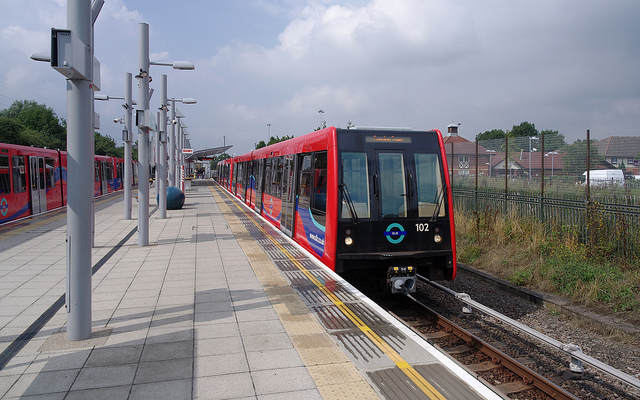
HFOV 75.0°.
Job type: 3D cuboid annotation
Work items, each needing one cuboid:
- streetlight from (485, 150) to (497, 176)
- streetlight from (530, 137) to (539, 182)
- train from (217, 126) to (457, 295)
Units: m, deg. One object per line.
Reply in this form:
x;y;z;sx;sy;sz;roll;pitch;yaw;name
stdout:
6.881;-1.498;16.801;0.191;1.001;0.709;3;11;22;streetlight
7.314;-1.418;14.478;0.177;1.460;0.287;-3;11;-11;streetlight
-1.155;-0.544;17.569;2.737;4.166;17.520;-2;6;-20;train
